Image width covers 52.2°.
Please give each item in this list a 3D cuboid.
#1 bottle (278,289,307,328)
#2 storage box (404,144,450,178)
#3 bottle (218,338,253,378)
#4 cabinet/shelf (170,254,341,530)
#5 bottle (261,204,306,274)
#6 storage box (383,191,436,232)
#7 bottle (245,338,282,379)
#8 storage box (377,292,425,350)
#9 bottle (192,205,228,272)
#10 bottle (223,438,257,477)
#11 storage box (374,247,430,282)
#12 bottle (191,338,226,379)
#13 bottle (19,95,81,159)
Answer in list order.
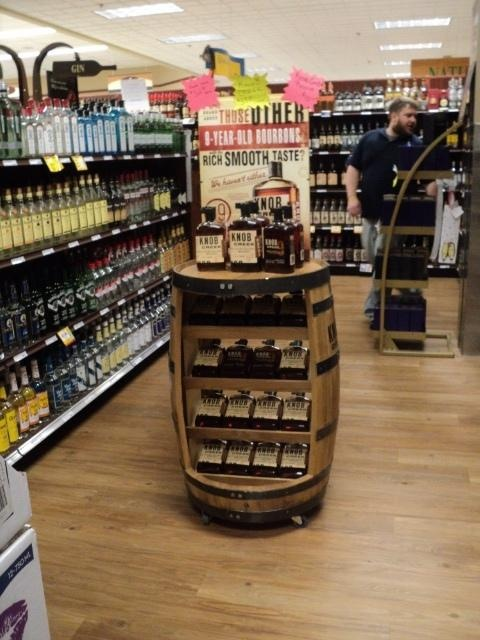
[{"bbox_3d":[0.228,-0.048,2.171,0.111,0.100,0.386,-1,10,5],"label":"bottle"},{"bbox_3d":[1.568,-1.385,4.129,0.408,0.263,0.225,3,23,12],"label":"storage box"},{"bbox_3d":[-0.021,0.177,2.239,0.156,0.086,0.266,3,36,3],"label":"bottle"},{"bbox_3d":[0.066,0.286,2.290,0.730,1.069,0.735,-1,11,5],"label":"cabinet/shelf"},{"bbox_3d":[0.172,-0.333,2.016,0.157,0.257,0.313,0,10,10],"label":"bottle"},{"bbox_3d":[1.470,-0.905,4.292,0.419,0.263,0.285,4,21,16],"label":"storage box"},{"bbox_3d":[0.105,0.178,2.204,0.157,0.084,0.256,2,41,6],"label":"bottle"},{"bbox_3d":[1.486,0.008,4.581,0.457,0.517,0.413,1,10,17],"label":"storage box"},{"bbox_3d":[-0.128,-0.350,2.092,0.133,0.257,0.218,-3,10,-4],"label":"bottle"},{"bbox_3d":[-0.002,0.616,2.232,0.121,0.114,0.209,4,24,3],"label":"bottle"},{"bbox_3d":[1.438,-0.473,4.371,0.316,0.206,0.336,1,17,11],"label":"storage box"},{"bbox_3d":[-0.145,0.184,2.268,0.080,0.070,0.199,0,24,5],"label":"bottle"},{"bbox_3d":[-1.248,-1.209,3.172,0.211,0.381,0.651,-2,10,3],"label":"bottle"}]
